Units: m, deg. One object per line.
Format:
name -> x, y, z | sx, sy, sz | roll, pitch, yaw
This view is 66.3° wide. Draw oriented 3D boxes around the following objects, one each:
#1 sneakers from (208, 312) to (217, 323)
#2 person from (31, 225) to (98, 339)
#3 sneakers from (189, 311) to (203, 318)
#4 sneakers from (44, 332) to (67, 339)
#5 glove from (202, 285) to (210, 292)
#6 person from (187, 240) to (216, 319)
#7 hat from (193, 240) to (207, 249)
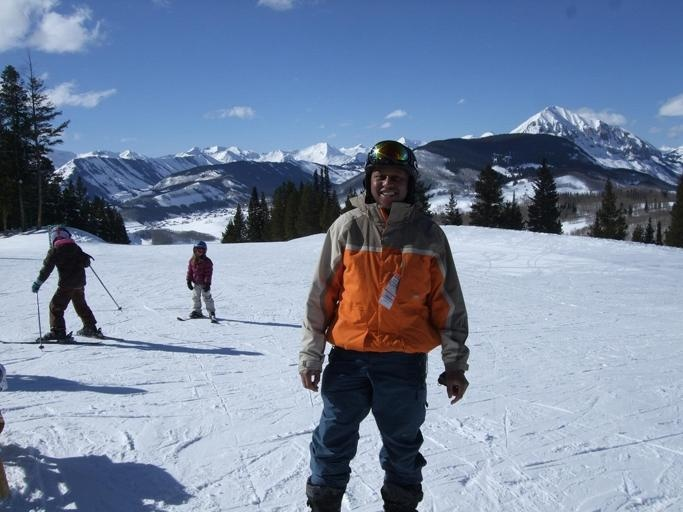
sneakers -> -2.884, 1.409, 11.759 | 0.121, 0.306, 0.118 | -29, -39, 27
person -> -5.217, 0.539, 10.039 | 1.051, 2.209, 0.899 | -2, 12, -9
sneakers -> -3.369, 1.361, 12.070 | 0.263, 0.168, 0.143 | 5, -10, -5
sneakers -> -5.397, 1.502, 9.822 | 0.415, 0.142, 0.126 | -1, 12, -4
glove -> -3.066, 0.728, 11.813 | 0.158, 0.160, 0.070 | 3, 12, 15
person -> -3.192, 0.565, 11.875 | 0.593, 1.837, 0.995 | -3, 12, -17
hat -> -3.125, -0.259, 11.628 | 0.212, 0.152, 0.299 | 2, -7, 1
